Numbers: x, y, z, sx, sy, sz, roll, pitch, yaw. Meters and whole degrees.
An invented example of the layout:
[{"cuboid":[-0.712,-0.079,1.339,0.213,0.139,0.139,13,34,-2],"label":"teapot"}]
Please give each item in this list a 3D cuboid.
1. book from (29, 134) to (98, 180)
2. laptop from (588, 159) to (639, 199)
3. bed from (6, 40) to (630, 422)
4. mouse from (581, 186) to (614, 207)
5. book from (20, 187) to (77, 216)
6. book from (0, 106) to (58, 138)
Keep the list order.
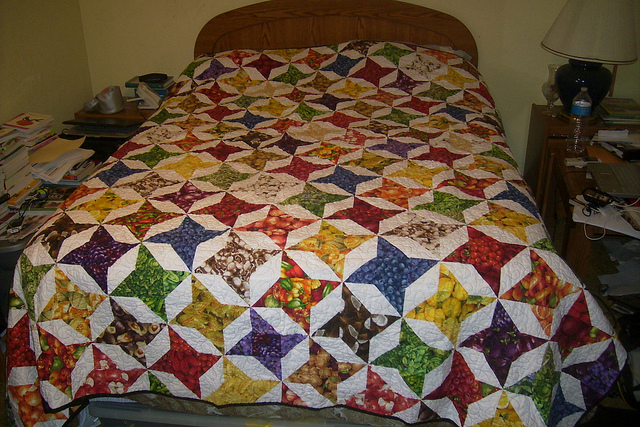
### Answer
[{"cuboid":[-1.584,-0.299,2.976,0.373,0.091,0.338,4,32,6],"label":"book"},{"cuboid":[1.481,-0.165,2.438,0.192,0.041,0.243,3,37,13],"label":"laptop"},{"cuboid":[0.009,0.112,2.717,2.273,0.803,2.051,1,39,2],"label":"bed"},{"cuboid":[1.349,-0.087,2.369,0.086,0.041,0.118,-27,39,-19],"label":"mouse"},{"cuboid":[-1.501,-0.062,2.664,0.243,0.043,0.284,-1,34,6],"label":"book"},{"cuboid":[-1.774,-0.556,3.021,0.297,0.063,0.272,6,31,4],"label":"book"}]
